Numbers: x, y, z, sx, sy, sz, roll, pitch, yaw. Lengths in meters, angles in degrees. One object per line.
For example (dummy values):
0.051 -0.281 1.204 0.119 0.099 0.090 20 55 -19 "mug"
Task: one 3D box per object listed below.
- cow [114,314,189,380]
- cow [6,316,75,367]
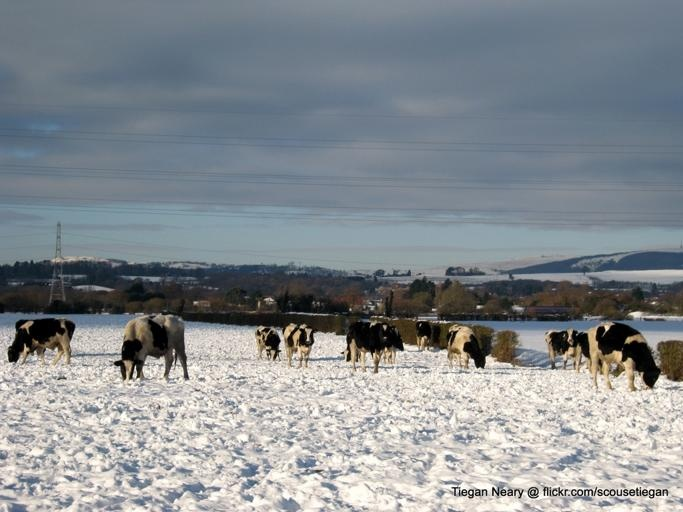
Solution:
-5.695 2.828 31.827 1.650 1.946 2.773 -2 -1 11 "cow"
-10.889 3.140 38.195 2.274 1.625 3.292 -1 -1 -24 "cow"
